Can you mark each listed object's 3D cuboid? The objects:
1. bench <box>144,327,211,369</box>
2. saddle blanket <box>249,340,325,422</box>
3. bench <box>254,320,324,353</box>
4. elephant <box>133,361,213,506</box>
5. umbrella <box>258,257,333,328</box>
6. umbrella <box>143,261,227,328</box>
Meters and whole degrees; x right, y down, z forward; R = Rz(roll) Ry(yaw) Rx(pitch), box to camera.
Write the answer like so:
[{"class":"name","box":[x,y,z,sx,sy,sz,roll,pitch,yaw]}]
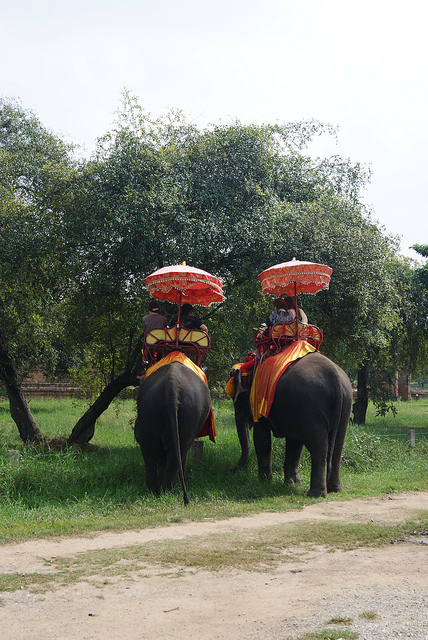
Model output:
[{"class":"bench","box":[-0.462,0.350,12.239,0.696,0.505,0.578,0,-2,-28]},{"class":"saddle blanket","box":[0.969,0.710,12.585,0.497,0.775,1.349,14,7,-8]},{"class":"bench","box":[0.956,0.167,12.832,0.539,0.348,0.544,0,-9,-6]},{"class":"elephant","box":[-0.562,1.335,12.371,0.925,1.665,3.162,0,-1,-3]},{"class":"umbrella","box":[1.043,-0.366,12.966,0.908,0.883,1.138,0,4,2]},{"class":"umbrella","box":[-0.425,-0.335,12.351,0.937,0.956,0.972,2,1,15]}]
